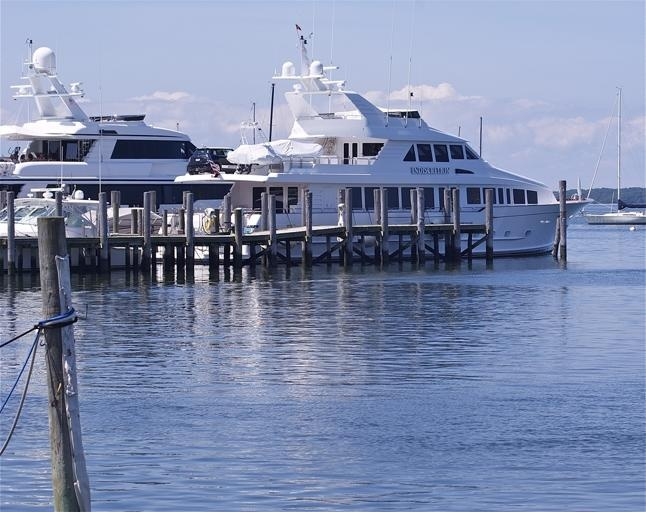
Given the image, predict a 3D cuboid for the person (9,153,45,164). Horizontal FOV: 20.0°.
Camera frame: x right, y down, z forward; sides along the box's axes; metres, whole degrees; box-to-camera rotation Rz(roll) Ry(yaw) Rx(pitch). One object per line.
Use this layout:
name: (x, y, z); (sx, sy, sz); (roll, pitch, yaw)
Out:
person: (-9.409, -3.181, 58.894); (0.853, 0.268, 0.548); (-1, 2, 12)
